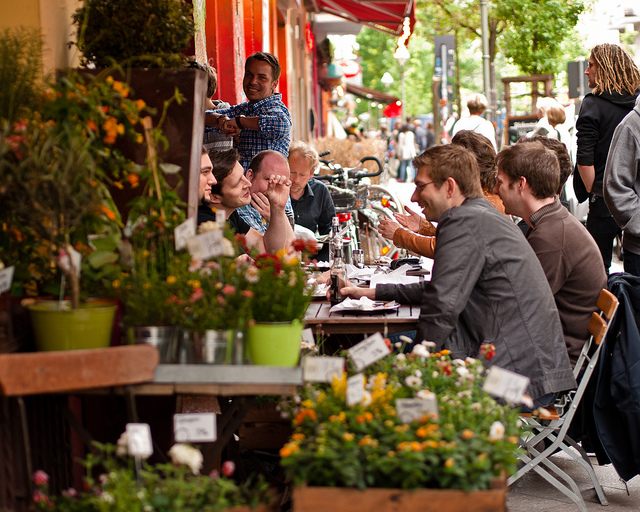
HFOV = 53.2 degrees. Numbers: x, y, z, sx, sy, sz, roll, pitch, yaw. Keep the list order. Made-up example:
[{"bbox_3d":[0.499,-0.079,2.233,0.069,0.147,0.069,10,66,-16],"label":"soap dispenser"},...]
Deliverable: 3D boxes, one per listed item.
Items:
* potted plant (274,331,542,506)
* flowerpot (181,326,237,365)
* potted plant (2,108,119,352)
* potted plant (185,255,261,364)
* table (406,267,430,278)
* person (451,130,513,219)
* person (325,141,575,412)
[{"bbox_3d":[0.293,0.503,2.188,0.826,0.417,0.830,4,6,13],"label":"potted plant"},{"bbox_3d":[-0.385,0.290,2.311,0.172,0.138,0.158,-10,10,-43],"label":"flowerpot"},{"bbox_3d":[-0.970,-0.095,2.388,0.515,0.928,0.439,2,6,-4],"label":"potted plant"},{"bbox_3d":[-0.347,0.192,2.264,0.260,0.378,0.087,3,6,9],"label":"potted plant"},{"bbox_3d":[0.653,0.108,4.265,0.147,0.031,0.293,4,6,13],"label":"table"},{"bbox_3d":[1.160,-0.657,4.572,0.312,0.702,0.547,-10,4,10],"label":"person"},{"bbox_3d":[0.615,0.308,3.399,1.229,1.670,0.738,7,9,16],"label":"person"}]
